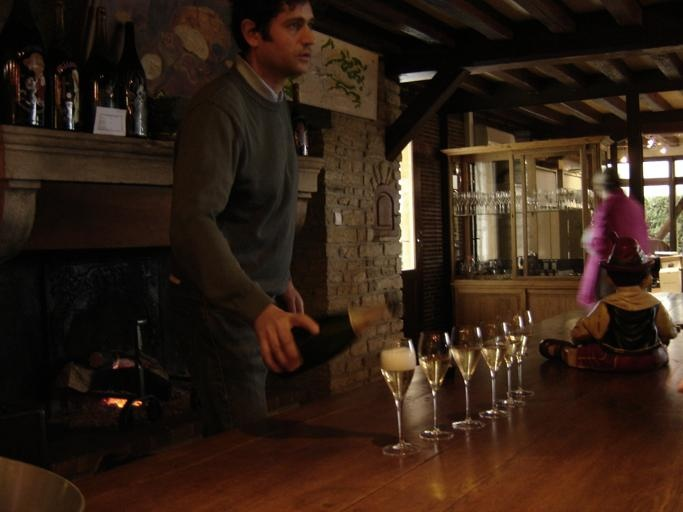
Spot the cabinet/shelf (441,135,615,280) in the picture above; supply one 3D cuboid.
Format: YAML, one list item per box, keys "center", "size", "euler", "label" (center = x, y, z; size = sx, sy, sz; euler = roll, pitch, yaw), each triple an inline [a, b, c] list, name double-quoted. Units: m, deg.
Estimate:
- center: [1.923, -0.403, 6.246]
  size: [1.607, 1.499, 0.619]
  euler: [-1, 0, 10]
  label: "cabinet/shelf"
